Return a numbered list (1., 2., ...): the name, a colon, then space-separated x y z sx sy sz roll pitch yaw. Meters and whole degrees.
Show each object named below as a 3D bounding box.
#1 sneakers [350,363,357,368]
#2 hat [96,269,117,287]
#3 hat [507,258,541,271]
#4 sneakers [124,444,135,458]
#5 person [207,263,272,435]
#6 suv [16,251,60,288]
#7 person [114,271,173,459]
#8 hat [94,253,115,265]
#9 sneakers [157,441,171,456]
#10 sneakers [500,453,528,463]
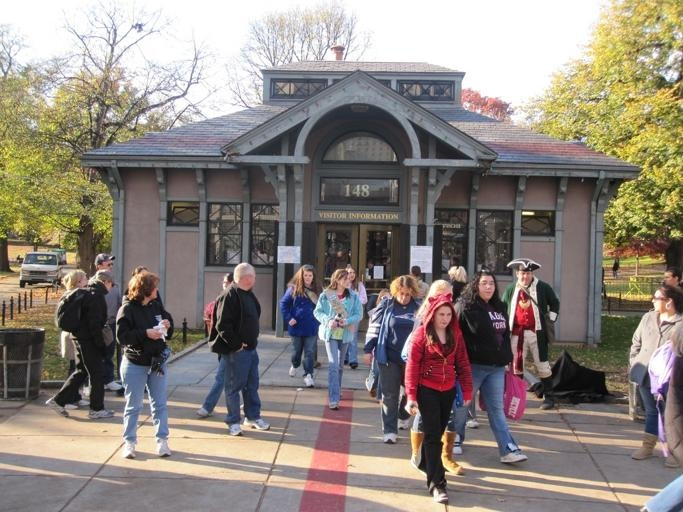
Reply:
1. sneakers: 0.284 2.395 17.669 0.076 0.126 0.129 2 -1 -41
2. hat: -4.281 0.410 14.718 0.324 0.322 0.227 -12 17 -43
3. hat: 3.358 0.168 15.216 0.495 0.161 0.491 -1 3 -16
4. sneakers: -3.319 3.061 12.696 0.107 0.219 0.314 2 4 -6
5. person: -1.697 1.567 13.708 0.867 2.878 0.697 0 0 6
6. suv: -13.723 0.529 37.200 1.517 1.320 2.885 0 -7 -11
7. person: -3.165 1.714 13.018 0.842 2.923 0.705 0 0 -14
8. hat: -4.475 0.058 15.208 0.368 0.215 0.246 -18 4 -10
9. sneakers: -2.791 3.047 12.841 0.235 0.260 0.206 0 -1 -27
10. sneakers: 2.717 3.206 12.833 0.433 0.196 0.159 -5 0 12
